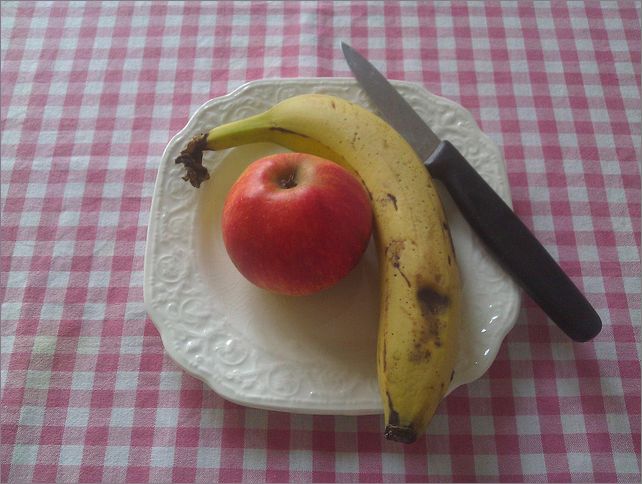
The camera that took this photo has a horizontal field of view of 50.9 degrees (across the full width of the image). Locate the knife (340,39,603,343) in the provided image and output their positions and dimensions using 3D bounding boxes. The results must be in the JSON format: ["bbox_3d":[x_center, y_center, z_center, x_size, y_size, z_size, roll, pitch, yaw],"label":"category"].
[{"bbox_3d":[0.324,-0.086,1.426,0.104,0.080,0.765,-30,79,-21],"label":"knife"}]

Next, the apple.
[{"bbox_3d":[-0.032,-0.040,1.413,0.315,0.332,0.250,-15,103,-4],"label":"apple"}]
